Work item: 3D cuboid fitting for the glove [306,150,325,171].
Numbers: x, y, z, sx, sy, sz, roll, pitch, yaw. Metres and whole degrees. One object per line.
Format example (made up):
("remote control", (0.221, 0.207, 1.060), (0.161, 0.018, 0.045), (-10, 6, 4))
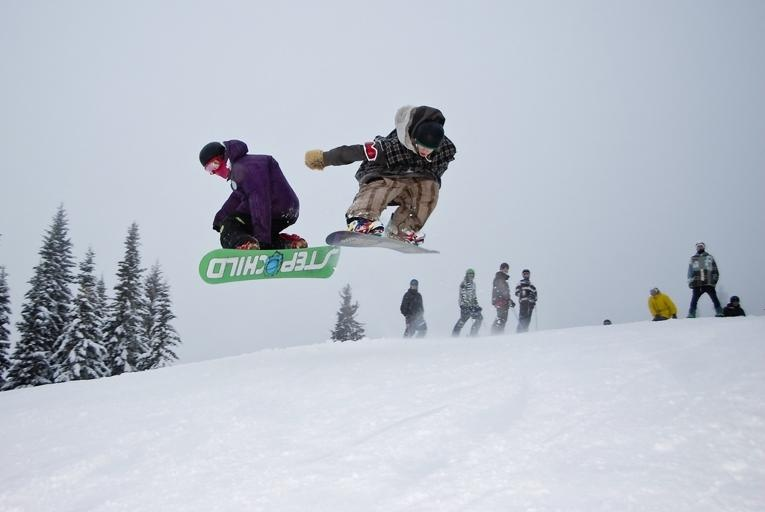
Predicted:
("glove", (-0.839, -1.188, 8.858), (0.230, 0.205, 0.288), (-5, -3, -5))

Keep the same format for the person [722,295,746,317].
("person", (6.126, 0.874, 12.728), (0.346, 0.337, 0.900), (-7, -3, 24))

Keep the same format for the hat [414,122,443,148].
("hat", (0.533, -1.460, 8.816), (0.275, 0.345, 0.327), (0, -21, -9))

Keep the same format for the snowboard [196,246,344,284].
("snowboard", (-1.515, 0.083, 9.051), (1.645, 0.480, 0.219), (-6, 21, -29))

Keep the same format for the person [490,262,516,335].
("person", (2.234, 0.802, 13.908), (0.469, 1.010, 1.316), (-6, -3, 8))

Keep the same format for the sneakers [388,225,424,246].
("sneakers", (0.290, -0.286, 9.610), (0.466, 0.170, 0.294), (18, 11, 2))

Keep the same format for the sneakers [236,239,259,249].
("sneakers", (-1.718, -0.144, 9.220), (0.180, 0.067, 0.136), (-5, -15, 25))

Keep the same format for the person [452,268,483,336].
("person", (1.585, 0.908, 14.004), (0.577, 0.916, 0.938), (-6, -3, 6))

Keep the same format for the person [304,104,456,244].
("person", (0.131, -0.983, 9.210), (1.587, 1.125, 1.009), (-6, -3, 5))

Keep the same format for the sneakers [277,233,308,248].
("sneakers", (-1.172, -0.184, 9.229), (0.288, 0.121, 0.176), (8, 20, 21))

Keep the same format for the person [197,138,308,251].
("person", (-1.799, -0.654, 9.675), (1.361, 1.729, 0.790), (-4, -15, -18))

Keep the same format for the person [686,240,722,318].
("person", (5.984, 0.448, 13.628), (0.582, 1.286, 1.342), (-7, -3, 23))
